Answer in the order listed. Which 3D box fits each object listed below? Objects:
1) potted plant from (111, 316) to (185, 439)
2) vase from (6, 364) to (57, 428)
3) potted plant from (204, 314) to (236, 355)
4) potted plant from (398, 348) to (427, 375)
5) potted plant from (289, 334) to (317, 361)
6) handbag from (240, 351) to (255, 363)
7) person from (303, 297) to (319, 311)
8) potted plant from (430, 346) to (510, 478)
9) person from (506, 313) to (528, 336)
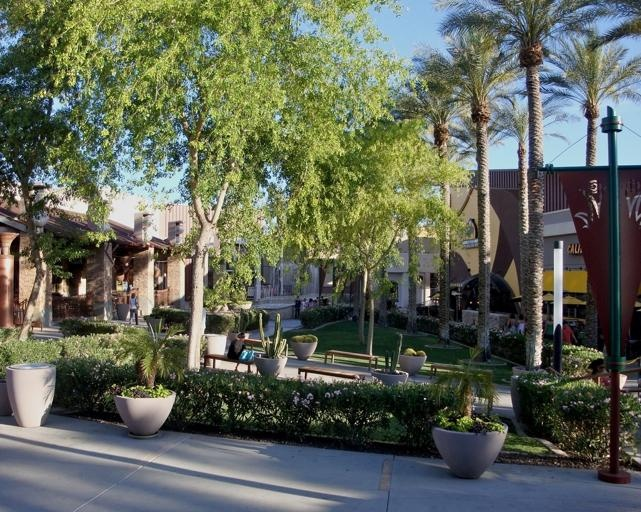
[{"bbox_3d":[-3.238,2.391,13.817,1.344,2.070,1.135,0,4,-35],"label":"potted plant"},{"bbox_3d":[-5.547,2.676,14.201,0.923,1.280,1.030,0,-4,-4],"label":"vase"},{"bbox_3d":[-4.276,3.203,31.307,1.169,1.593,1.332,1,-6,-7],"label":"potted plant"},{"bbox_3d":[2.910,3.384,23.438,0.679,0.645,0.769,1,-12,-1],"label":"potted plant"},{"bbox_3d":[-0.608,3.245,26.229,0.732,0.822,0.826,1,-8,-9],"label":"potted plant"},{"bbox_3d":[-2.096,2.840,20.791,0.260,0.342,0.369,1,-9,5],"label":"handbag"},{"bbox_3d":[-0.854,4.052,64.601,0.825,0.700,1.081,1,-4,-32],"label":"person"},{"bbox_3d":[2.536,2.855,13.153,1.529,2.963,1.826,0,-5,1],"label":"potted plant"},{"bbox_3d":[8.643,3.008,32.193,0.635,1.398,1.285,6,-7,-14],"label":"person"}]
